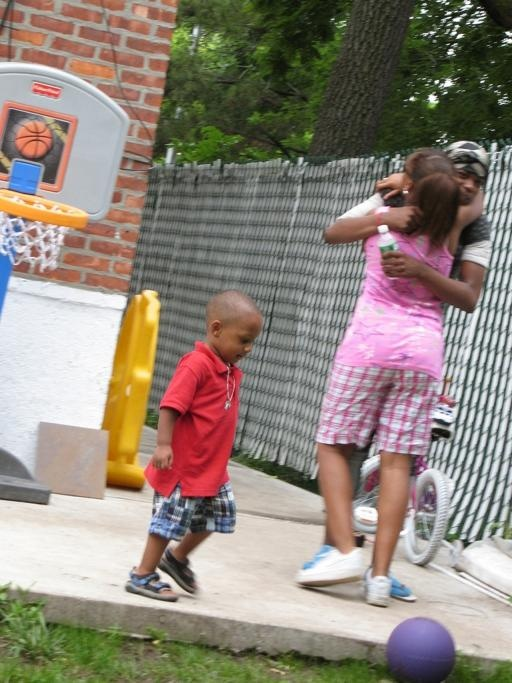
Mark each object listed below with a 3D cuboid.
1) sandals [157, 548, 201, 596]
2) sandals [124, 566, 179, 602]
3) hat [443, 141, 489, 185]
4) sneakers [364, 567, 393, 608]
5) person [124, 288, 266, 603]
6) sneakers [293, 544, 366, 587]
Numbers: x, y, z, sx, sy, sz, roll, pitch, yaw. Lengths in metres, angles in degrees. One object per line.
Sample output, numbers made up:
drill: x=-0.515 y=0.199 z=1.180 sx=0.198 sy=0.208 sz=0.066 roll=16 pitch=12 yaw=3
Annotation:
sandals: x=-0.257 y=0.711 z=2.287 sx=0.089 sy=0.188 sz=0.072 roll=-24 pitch=35 yaw=-10
sandals: x=-0.313 y=0.728 z=2.133 sx=0.166 sy=0.056 sz=0.074 roll=11 pitch=-4 yaw=5
hat: x=0.814 y=-0.699 z=2.738 sx=0.154 sy=0.119 sz=0.173 roll=2 pitch=7 yaw=-6
sneakers: x=0.436 y=0.902 z=2.565 sx=0.063 sy=0.056 sz=0.156 roll=2 pitch=-2 yaw=1
person: x=-0.171 y=0.322 z=2.230 sx=0.350 sy=0.947 sz=0.321 roll=16 pitch=2 yaw=-12
sneakers: x=0.262 y=0.803 z=2.544 sx=0.320 sy=0.114 sz=0.110 roll=-14 pitch=-31 yaw=27
